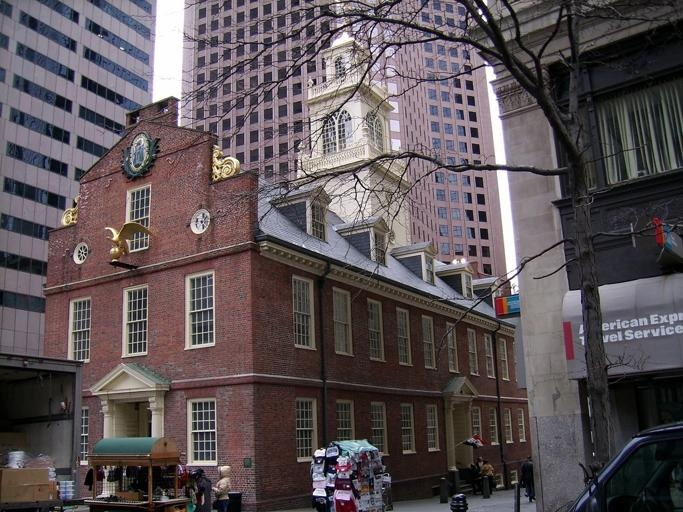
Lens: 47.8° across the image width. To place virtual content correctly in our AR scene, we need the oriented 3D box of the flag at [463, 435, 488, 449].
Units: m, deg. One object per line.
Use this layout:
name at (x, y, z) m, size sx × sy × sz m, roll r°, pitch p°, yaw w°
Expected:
flag at (6.442, 8.985, 37.451) m, size 0.890 × 0.421 × 1.182 m, roll 0°, pitch -3°, yaw -3°
